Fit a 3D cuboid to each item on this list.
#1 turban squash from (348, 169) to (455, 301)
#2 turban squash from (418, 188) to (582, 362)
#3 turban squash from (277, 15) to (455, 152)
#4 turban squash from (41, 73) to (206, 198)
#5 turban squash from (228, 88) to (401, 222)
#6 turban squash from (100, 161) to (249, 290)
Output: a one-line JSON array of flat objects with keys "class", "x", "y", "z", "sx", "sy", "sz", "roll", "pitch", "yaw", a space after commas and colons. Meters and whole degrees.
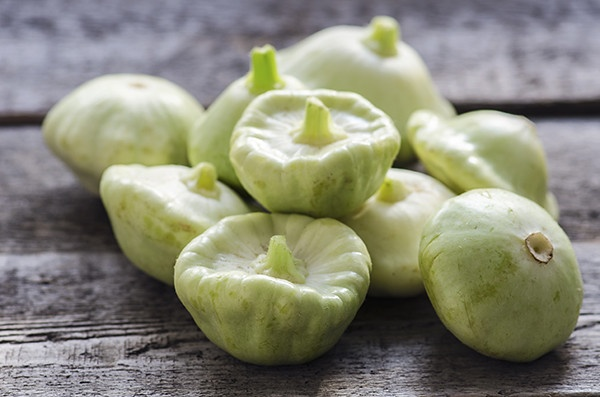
[{"class": "turban squash", "x": 0.196, "y": 0.093, "z": 1.481, "sx": 0.237, "sy": 0.155, "sz": 0.217, "roll": -18, "pitch": 44, "yaw": -8}, {"class": "turban squash", "x": 0.301, "y": 0.143, "z": 1.381, "sx": 0.286, "sy": 0.159, "sz": 0.277, "roll": -18, "pitch": 71, "yaw": -36}, {"class": "turban squash", "x": 0.186, "y": -0.282, "z": 1.767, "sx": 0.387, "sy": 0.237, "sz": 0.379, "roll": 1, "pitch": 7, "yaw": -39}, {"class": "turban squash", "x": -0.387, "y": -0.141, "z": 1.626, "sx": 0.327, "sy": 0.205, "sz": 0.308, "roll": 22, "pitch": 18, "yaw": 18}, {"class": "turban squash", "x": 0.021, "y": -0.087, "z": 1.337, "sx": 0.267, "sy": 0.191, "sz": 0.247, "roll": 6, "pitch": 37, "yaw": 0}, {"class": "turban squash", "x": -0.244, "y": 0.016, "z": 1.386, "sx": 0.246, "sy": 0.176, "sz": 0.247, "roll": 25, "pitch": 10, "yaw": -4}]
